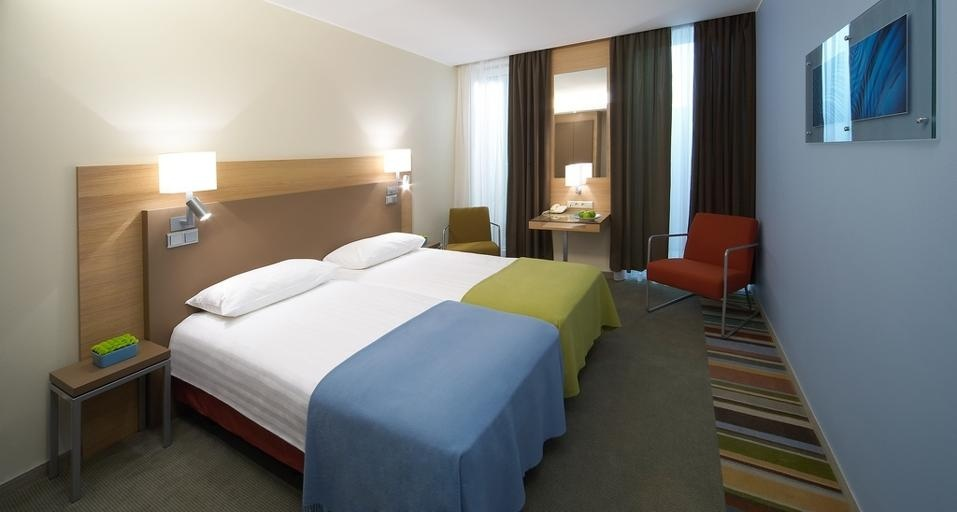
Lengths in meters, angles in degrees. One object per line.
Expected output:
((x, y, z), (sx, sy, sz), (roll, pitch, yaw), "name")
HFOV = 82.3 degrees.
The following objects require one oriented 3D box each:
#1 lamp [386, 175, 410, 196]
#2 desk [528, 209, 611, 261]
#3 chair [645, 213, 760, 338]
((-1.077, -0.960, 7.429), (0.100, 0.259, 0.528), (1, 14, 21), "lamp")
((1.361, -0.420, 8.104), (0.902, 0.833, 0.875), (4, 13, 24), "desk")
((2.761, 0.134, 6.714), (1.056, 1.159, 1.224), (10, 20, 40), "chair")
